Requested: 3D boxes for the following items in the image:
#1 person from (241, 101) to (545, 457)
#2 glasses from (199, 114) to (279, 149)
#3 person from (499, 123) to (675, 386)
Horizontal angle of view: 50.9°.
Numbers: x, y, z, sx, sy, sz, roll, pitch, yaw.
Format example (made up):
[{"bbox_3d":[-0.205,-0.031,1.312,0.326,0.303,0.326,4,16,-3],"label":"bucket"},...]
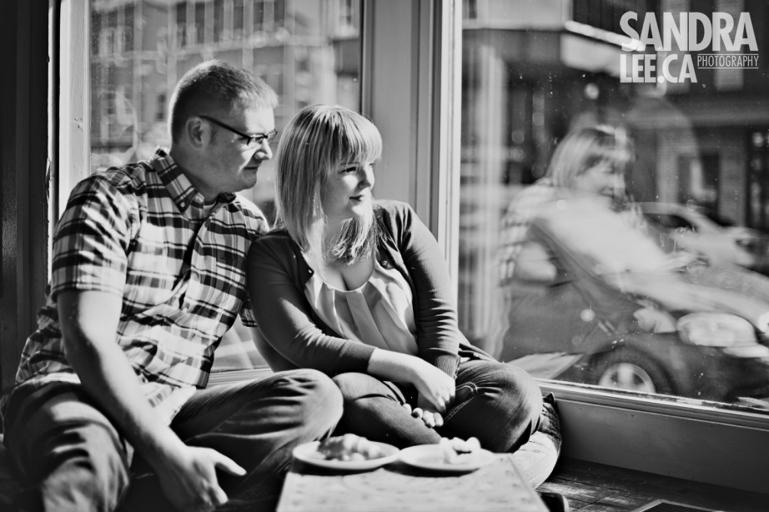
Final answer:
[{"bbox_3d":[-0.009,0.097,2.446,0.879,1.189,0.817,-4,6,37],"label":"person"},{"bbox_3d":[-0.447,-0.387,2.470,0.118,0.034,0.121,30,18,9],"label":"glasses"},{"bbox_3d":[0.771,-0.095,3.218,0.693,1.297,0.703,5,11,28],"label":"person"}]
